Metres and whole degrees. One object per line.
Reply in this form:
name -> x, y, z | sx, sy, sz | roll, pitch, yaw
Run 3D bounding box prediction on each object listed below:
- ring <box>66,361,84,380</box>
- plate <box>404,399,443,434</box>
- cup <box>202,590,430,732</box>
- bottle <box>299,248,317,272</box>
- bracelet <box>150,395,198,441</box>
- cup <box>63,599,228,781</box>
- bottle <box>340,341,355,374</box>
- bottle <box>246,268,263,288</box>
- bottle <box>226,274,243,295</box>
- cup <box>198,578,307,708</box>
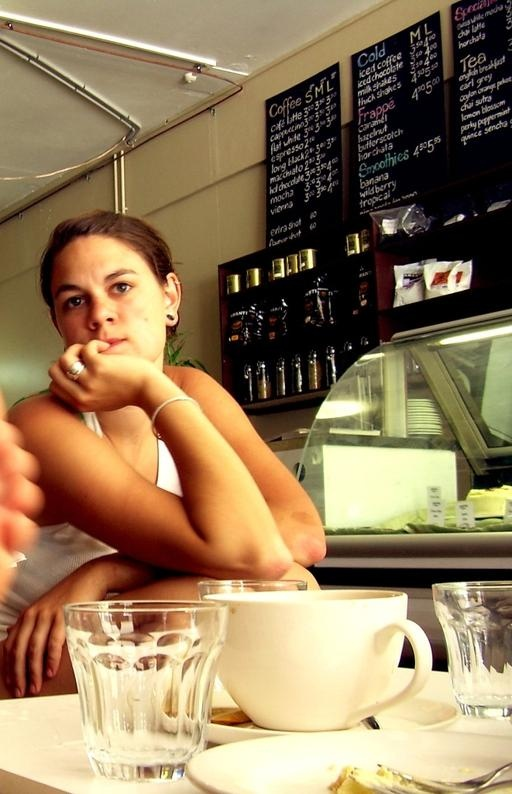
ring -> -0.283, -0.042, 0.948 | 0.028, 0.027, 0.008 | -7, -39, 42
plate -> 0.467, 0.062, 1.742 | 0.098, 0.095, 0.098 | 9, -16, -38
cup -> 0.041, 0.135, 0.377 | 0.114, 0.056, 0.092 | -4, -8, 44
bottle -> 0.312, -0.842, 3.711 | 0.137, 0.143, 0.138 | 1, 2, 18
bracelet -> -0.103, 0.021, 0.801 | 0.059, 0.058, 0.044 | 4, 29, -10
cup -> -0.054, 0.152, 0.338 | 0.079, 0.086, 0.079 | -1, -12, 0
bottle -> 0.517, -0.234, 3.467 | 0.078, 0.214, 0.157 | 3, 4, 0
bottle -> -0.018, -0.779, 4.008 | 0.122, 0.140, 0.124 | 2, 0, 23
bottle -> -0.163, -0.757, 4.114 | 0.130, 0.147, 0.129 | 0, -2, -6
cup -> -0.007, 0.171, 0.458 | 0.091, 0.103, 0.097 | 0, -10, 0
